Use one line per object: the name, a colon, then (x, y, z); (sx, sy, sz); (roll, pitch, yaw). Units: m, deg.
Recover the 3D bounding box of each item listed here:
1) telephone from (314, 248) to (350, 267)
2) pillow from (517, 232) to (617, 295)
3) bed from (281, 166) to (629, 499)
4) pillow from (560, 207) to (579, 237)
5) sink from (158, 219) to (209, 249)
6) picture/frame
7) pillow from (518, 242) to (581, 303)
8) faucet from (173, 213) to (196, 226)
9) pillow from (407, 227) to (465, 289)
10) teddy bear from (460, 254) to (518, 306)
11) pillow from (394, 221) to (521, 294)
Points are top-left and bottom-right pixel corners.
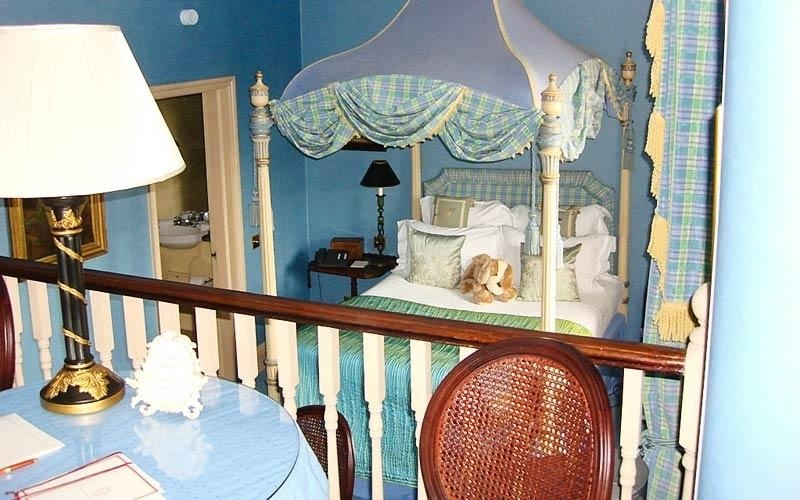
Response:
telephone: (-0.666, 0.077, 6.576); (0.236, 0.080, 0.209); (2, 47, 8)
pillow: (1.339, 0.150, 5.374); (0.598, 0.557, 0.183); (-2, 2, 22)
bed: (0.585, 0.347, 5.111); (1.811, 1.787, 2.749); (3, 7, 23)
pillow: (1.434, -0.239, 5.704); (0.194, 0.258, 0.082); (2, -8, 1)
sink: (-1.992, -0.149, 6.089); (0.346, 0.171, 0.280); (-1, 7, 22)
picture/frame: (-1.504, -0.065, 2.893); (0.032, 0.440, 0.436); (10, 15, 25)
pillow: (1.161, 0.211, 5.207); (0.468, 0.484, 0.144); (0, 12, 3)
faucet: (-2.042, -0.294, 6.383); (0.183, 0.068, 0.133); (9, 15, 37)
pillow: (0.319, 0.080, 5.657); (0.458, 0.394, 0.178); (7, 3, 31)
teddy bear: (0.699, 0.233, 5.210); (0.365, 0.376, 0.149); (-2, -3, 3)
pillow: (0.406, 0.056, 5.822); (0.905, 0.599, 0.277); (4, 0, 10)
